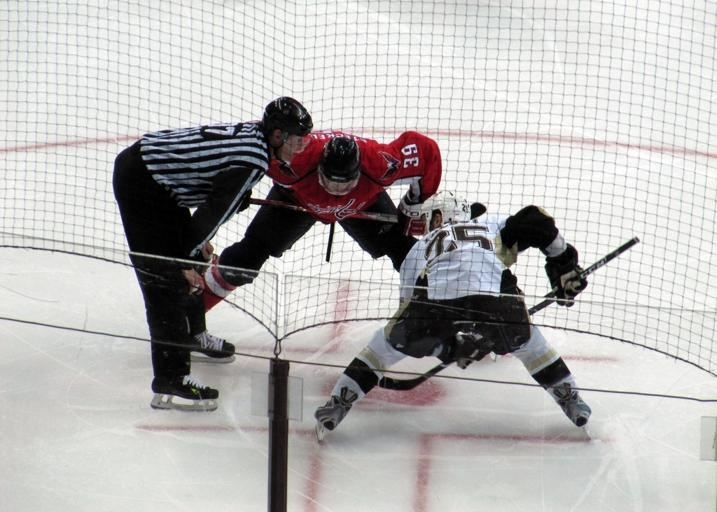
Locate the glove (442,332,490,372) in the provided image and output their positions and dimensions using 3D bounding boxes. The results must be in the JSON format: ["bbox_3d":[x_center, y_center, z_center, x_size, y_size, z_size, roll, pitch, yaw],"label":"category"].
[{"bbox_3d":[0.611,0.515,6.537,0.159,0.091,0.229,30,42,34],"label":"glove"}]

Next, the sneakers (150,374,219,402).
[{"bbox_3d":[-0.981,0.737,6.766,0.426,0.167,0.140,1,11,10],"label":"sneakers"}]

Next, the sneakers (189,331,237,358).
[{"bbox_3d":[-0.807,0.503,6.655,0.317,0.127,0.111,6,30,16],"label":"sneakers"}]

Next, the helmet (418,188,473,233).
[{"bbox_3d":[0.579,-0.311,7.644,0.317,0.281,0.246,-19,10,10],"label":"helmet"}]

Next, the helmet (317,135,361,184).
[{"bbox_3d":[-0.122,-0.588,7.178,0.220,0.228,0.273,7,53,-11],"label":"helmet"}]

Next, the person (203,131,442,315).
[{"bbox_3d":[-0.203,-0.211,7.185,1.300,1.157,0.653,2,61,-10],"label":"person"}]

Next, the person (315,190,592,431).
[{"bbox_3d":[0.534,0.350,6.848,1.151,0.637,1.115,14,48,7],"label":"person"}]

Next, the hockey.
[{"bbox_3d":[0.825,0.346,6.783,1.275,0.051,0.322,-30,22,-2],"label":"hockey"}]

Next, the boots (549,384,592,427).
[{"bbox_3d":[1.205,0.833,6.683,0.299,0.163,0.123,46,6,-9],"label":"boots"}]

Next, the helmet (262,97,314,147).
[{"bbox_3d":[-0.459,-0.767,7.071,0.373,0.339,0.304,2,5,24],"label":"helmet"}]

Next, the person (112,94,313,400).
[{"bbox_3d":[-0.913,-0.042,6.828,1.056,1.822,0.746,5,11,-12],"label":"person"}]

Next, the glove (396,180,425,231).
[{"bbox_3d":[0.344,-0.324,7.644,0.206,0.245,0.242,25,-12,-1],"label":"glove"}]
